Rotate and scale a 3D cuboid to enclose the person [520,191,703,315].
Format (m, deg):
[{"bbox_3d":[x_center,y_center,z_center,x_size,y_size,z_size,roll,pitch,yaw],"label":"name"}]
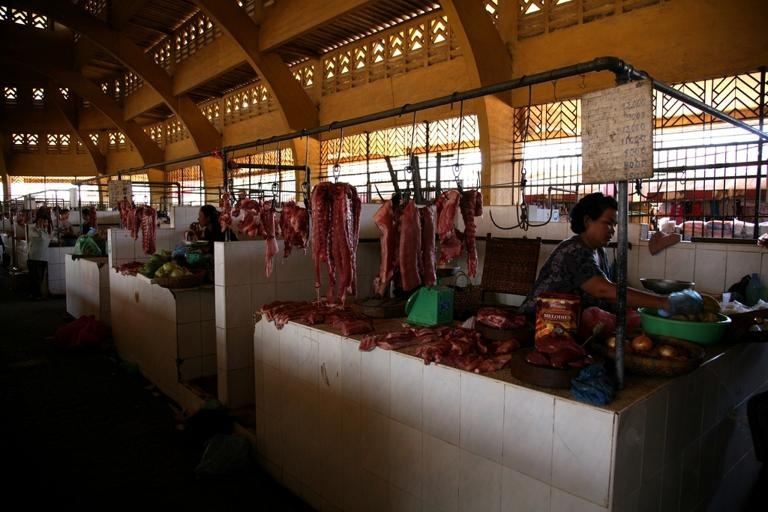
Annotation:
[{"bbox_3d":[1.810,-0.031,4.468,1.257,0.990,0.807,5,-6,37],"label":"person"}]

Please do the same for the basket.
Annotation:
[{"bbox_3d":[1.913,0.682,3.889,0.388,0.164,0.390,-15,8,-22],"label":"basket"}]

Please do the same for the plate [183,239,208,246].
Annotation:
[{"bbox_3d":[-2.376,-0.168,7.112,0.276,0.072,0.175,-3,15,-24],"label":"plate"}]

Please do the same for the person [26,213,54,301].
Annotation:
[{"bbox_3d":[-6.873,-0.055,11.231,0.446,1.753,1.179,-5,14,-31],"label":"person"}]

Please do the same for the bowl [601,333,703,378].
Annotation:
[{"bbox_3d":[1.944,0.691,3.968,0.582,0.242,0.335,4,13,4],"label":"bowl"}]

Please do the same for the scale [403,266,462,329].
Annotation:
[{"bbox_3d":[0.399,0.355,4.969,0.418,0.535,0.320,-3,4,-34],"label":"scale"}]
